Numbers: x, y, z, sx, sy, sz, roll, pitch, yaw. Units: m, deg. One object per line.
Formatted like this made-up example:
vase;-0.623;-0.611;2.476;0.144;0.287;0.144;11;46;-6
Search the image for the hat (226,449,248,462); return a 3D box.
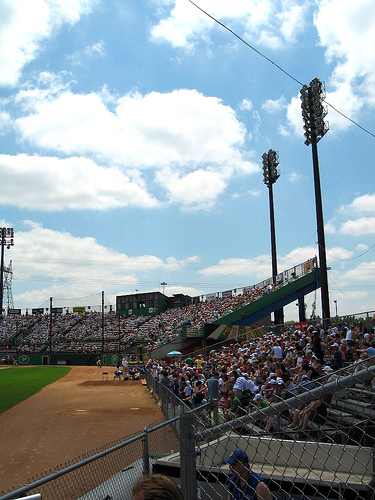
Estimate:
hat;0.422;1.748;4.474;0.159;0.078;0.106;0;-12;4
